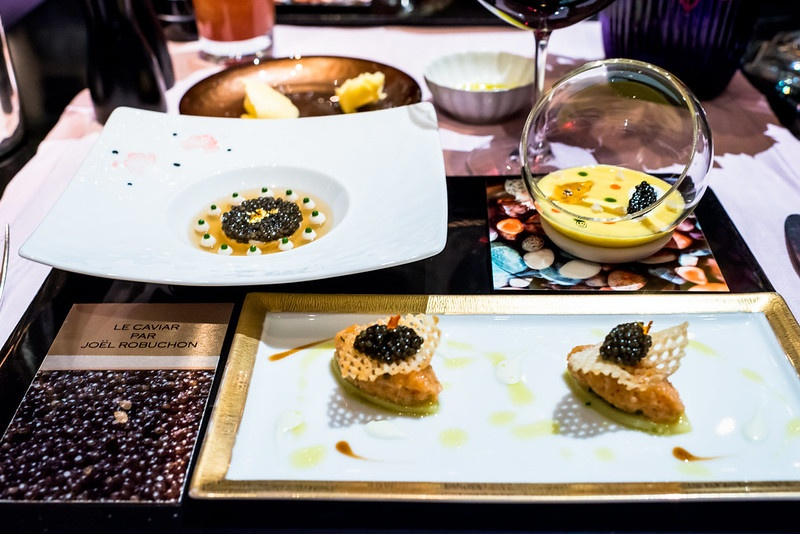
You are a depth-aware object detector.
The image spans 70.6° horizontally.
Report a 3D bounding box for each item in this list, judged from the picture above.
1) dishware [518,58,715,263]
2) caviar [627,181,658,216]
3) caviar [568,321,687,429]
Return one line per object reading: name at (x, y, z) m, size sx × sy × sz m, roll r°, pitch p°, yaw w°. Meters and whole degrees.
dishware at (0.464, -0.174, 1.338) m, size 0.459 × 0.325 × 0.450 m, roll 13°, pitch 68°, yaw 17°
caviar at (0.482, -0.138, 1.121) m, size 0.048 × 0.029 × 0.078 m, roll 27°, pitch 72°, yaw 29°
caviar at (0.375, 0.181, 0.948) m, size 0.175 × 0.075 × 0.164 m, roll -28°, pitch 42°, yaw -13°
